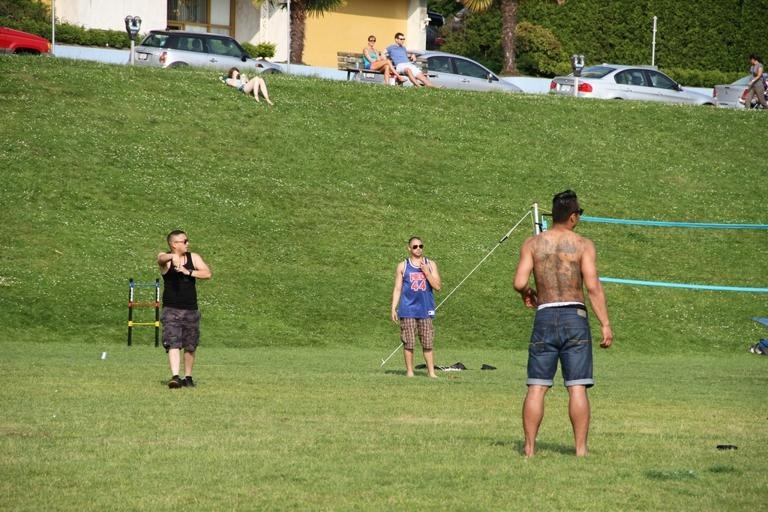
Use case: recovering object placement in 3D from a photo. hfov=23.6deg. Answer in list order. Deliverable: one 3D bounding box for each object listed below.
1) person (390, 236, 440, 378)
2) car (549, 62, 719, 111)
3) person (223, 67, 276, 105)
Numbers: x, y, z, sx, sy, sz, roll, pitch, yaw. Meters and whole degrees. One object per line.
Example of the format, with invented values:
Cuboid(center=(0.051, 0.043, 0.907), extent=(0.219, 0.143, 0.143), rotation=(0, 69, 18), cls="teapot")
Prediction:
Cuboid(center=(0.837, 1.329, 46.822), extent=(1.287, 3.473, 0.874), rotation=(0, 1, -6), cls="person")
Cuboid(center=(8.343, -5.917, 62.700), extent=(4.649, 1.457, 2.090), rotation=(-2, 6, -21), cls="car")
Cuboid(center=(-4.339, -5.443, 57.714), extent=(1.943, 0.953, 0.865), rotation=(18, 24, 31), cls="person")
